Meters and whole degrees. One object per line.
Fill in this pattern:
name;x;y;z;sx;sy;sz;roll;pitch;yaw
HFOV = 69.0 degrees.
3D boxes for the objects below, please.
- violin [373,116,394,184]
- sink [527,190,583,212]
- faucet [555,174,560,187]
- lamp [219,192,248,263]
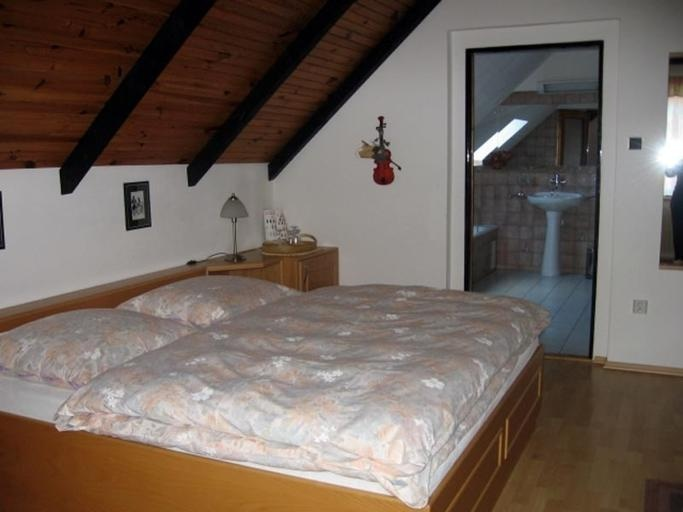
violin;0.374;-0.921;4.346;0.194;0.595;0.118;2;12;5
sink;2.781;-0.715;6.460;0.679;0.243;0.435;7;13;26
faucet;2.862;-1.011;6.607;0.074;0.168;0.026;2;12;3
lamp;-0.898;-0.248;4.116;0.207;0.531;0.631;-2;12;-13
